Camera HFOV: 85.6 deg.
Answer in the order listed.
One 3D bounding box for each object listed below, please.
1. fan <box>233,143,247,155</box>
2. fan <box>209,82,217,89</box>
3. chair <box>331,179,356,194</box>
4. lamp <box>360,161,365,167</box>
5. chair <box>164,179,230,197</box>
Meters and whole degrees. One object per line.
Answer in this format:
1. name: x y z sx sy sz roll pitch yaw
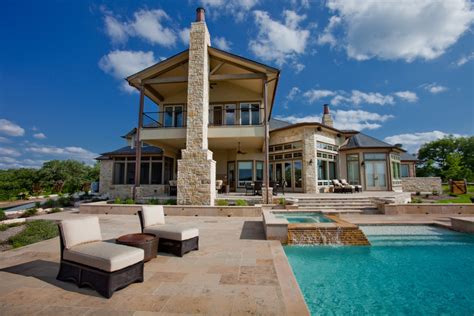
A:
1. fan: 0.275 -0.818 22.661 1.171 0.801 0.996 -5 -13 15
2. fan: -2.033 -6.280 22.020 0.641 0.498 0.476 0 -7 -5
3. chair: 9.123 2.424 21.786 1.608 0.861 1.108 -6 -7 43
4. lamp: 11.823 0.537 23.912 0.308 0.518 0.113 0 -8 -2
5. chair: -3.129 2.418 20.701 4.921 1.249 2.561 0 -7 -7
